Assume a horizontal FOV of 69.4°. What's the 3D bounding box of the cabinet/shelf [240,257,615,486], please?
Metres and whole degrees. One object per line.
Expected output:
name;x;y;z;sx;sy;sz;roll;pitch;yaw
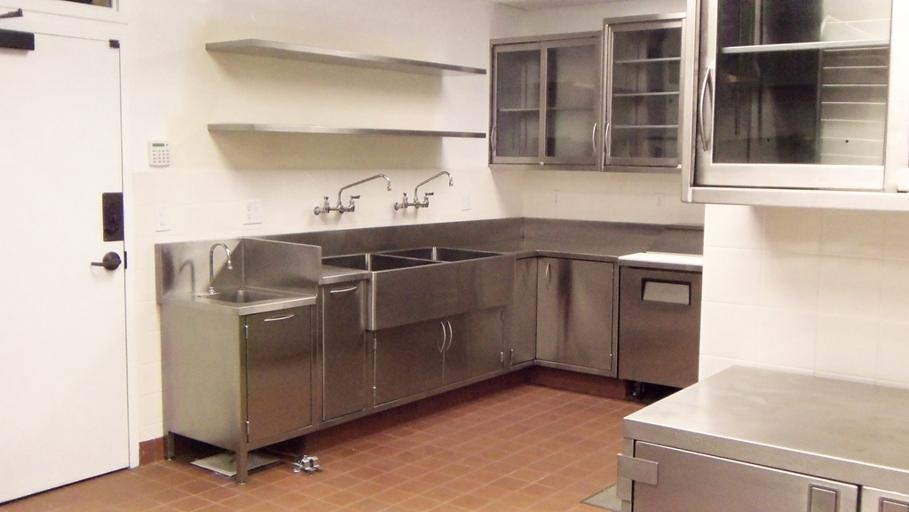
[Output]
cabinet/shelf;0.024;0.533;5.148;2.622;1.090;0.688;-6;16;-26

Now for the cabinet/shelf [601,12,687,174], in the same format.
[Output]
cabinet/shelf;1.489;-1.342;5.658;0.871;1.249;0.494;-7;16;-17

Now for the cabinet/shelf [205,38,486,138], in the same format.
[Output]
cabinet/shelf;-0.799;-1.220;4.964;1.993;0.686;0.588;-11;19;-40

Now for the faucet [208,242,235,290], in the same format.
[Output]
faucet;-1.628;0.075;4.539;0.090;0.340;0.227;11;18;31

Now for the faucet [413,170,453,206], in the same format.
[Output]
faucet;-0.174;-0.584;5.736;0.158;0.299;0.520;13;18;38
